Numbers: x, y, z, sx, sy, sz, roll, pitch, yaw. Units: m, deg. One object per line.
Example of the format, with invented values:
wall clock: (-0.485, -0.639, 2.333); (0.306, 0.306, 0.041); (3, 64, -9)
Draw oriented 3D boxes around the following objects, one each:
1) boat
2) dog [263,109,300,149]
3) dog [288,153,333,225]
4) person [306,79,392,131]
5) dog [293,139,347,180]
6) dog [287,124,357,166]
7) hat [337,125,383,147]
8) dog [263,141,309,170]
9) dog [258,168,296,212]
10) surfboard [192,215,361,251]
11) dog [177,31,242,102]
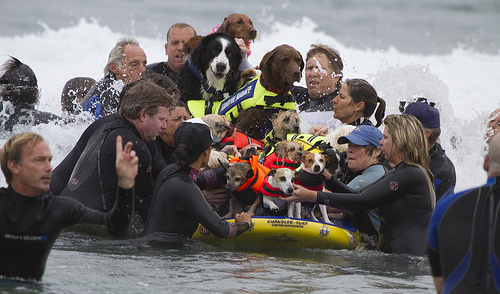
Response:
boat: (0.485, 1.578, 11.873); (2.810, 0.475, 1.702); (4, -6, -6)
dog: (0.612, -0.363, 13.894); (0.408, 0.592, 1.144); (9, -24, -38)
dog: (1.091, 0.678, 12.070); (0.608, 1.372, 0.714); (2, 0, 7)
person: (2.144, -0.861, 13.420); (1.218, 1.226, 0.748); (19, 14, 7)
dog: (0.975, 0.193, 12.440); (0.537, 0.995, 1.796); (1, 0, -4)
dog: (1.381, -0.050, 12.775); (1.477, 0.586, 0.773); (11, -41, -8)
hat: (2.035, -0.209, 12.297); (0.595, 0.454, 0.651); (0, 0, -18)
dog: (0.699, 0.171, 12.296); (0.273, 0.511, 1.106); (2, 2, -44)
dog: (0.464, 0.737, 11.981); (0.470, 0.881, 0.764); (0, 0, 3)
surfboard: (0.599, 1.579, 11.842); (1.521, 0.258, 1.155); (1, -16, 14)
dog: (-0.886, -1.696, 14.495); (1.102, 1.678, 1.722); (-1, 1, -22)
